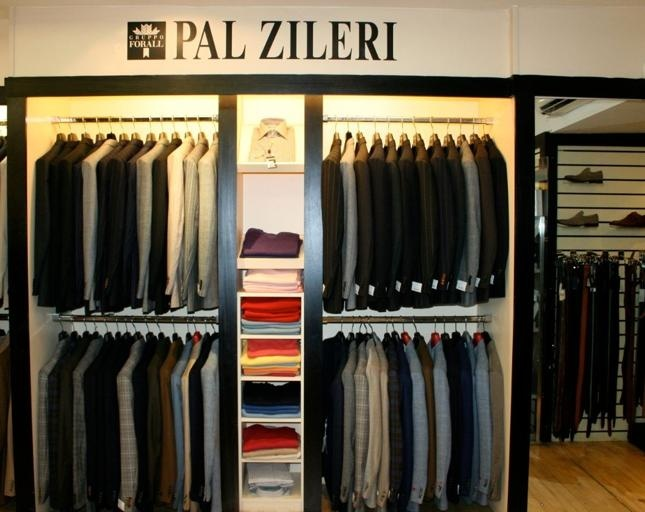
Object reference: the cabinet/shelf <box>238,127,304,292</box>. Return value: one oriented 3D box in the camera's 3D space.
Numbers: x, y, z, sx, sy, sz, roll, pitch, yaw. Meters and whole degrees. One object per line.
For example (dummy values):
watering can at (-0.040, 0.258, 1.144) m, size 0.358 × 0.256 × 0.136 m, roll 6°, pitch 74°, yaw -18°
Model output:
cabinet/shelf at (-0.316, -0.330, 4.646) m, size 0.405 × 1.051 × 0.585 m, roll 0°, pitch 5°, yaw -3°

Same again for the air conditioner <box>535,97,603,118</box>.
air conditioner at (1.462, -0.890, 4.456) m, size 0.341 × 0.101 × 0.090 m, roll -2°, pitch 5°, yaw -13°

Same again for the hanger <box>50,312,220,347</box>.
hanger at (-1.174, 0.438, 4.791) m, size 1.029 × 0.218 × 0.424 m, roll 0°, pitch 6°, yaw -2°

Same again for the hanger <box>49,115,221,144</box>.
hanger at (-1.184, -0.815, 4.746) m, size 1.006 × 0.170 × 0.486 m, roll -1°, pitch 6°, yaw -7°
